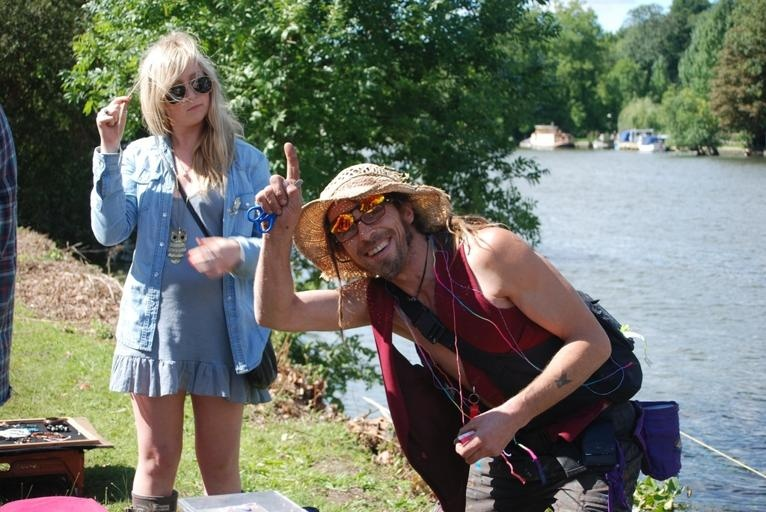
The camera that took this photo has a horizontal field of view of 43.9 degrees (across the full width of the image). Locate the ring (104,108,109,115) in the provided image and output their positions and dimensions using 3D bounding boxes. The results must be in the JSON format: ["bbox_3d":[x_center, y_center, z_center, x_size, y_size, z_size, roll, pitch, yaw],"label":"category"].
[{"bbox_3d":[-2.802,-1.469,9.622,0.047,0.016,0.067,9,25,-11],"label":"ring"}]

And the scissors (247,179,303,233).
[{"bbox_3d":[-1.091,-0.499,9.420,0.392,0.719,0.163,46,3,-14],"label":"scissors"}]
